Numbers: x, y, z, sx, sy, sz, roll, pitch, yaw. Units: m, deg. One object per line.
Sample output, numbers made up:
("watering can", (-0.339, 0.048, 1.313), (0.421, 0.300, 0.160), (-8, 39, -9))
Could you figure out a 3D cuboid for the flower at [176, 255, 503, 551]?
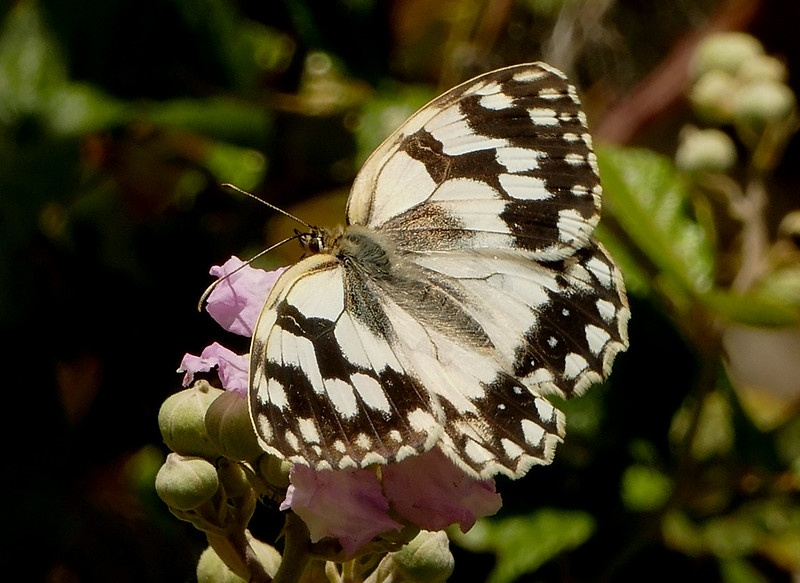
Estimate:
("flower", (-0.118, 0.182, 1.590), (0.545, 0.135, 0.238), (44, 81, 8))
